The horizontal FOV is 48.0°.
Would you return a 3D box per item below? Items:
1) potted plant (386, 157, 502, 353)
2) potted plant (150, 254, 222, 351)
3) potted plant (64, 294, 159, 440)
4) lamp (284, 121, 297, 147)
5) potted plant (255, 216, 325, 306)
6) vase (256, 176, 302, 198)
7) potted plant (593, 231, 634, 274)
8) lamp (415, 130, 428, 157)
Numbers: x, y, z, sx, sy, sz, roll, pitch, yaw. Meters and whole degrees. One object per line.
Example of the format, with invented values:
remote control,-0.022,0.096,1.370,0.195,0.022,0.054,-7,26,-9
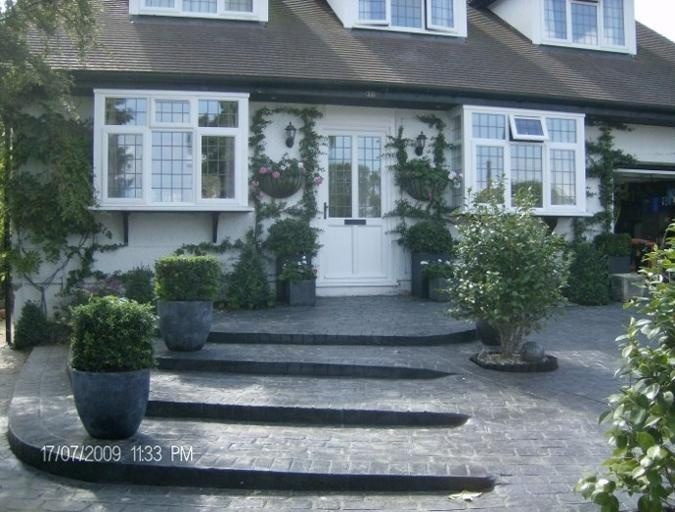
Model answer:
potted plant,2.103,-0.560,16.927,1.402,2.959,1.838,-3,12,-16
potted plant,-2.376,0.698,12.457,1.388,1.670,1.283,1,0,4
potted plant,-2.832,1.411,9.629,1.078,1.650,1.143,-8,-12,35
lamp,-0.991,-2.646,16.723,0.282,0.548,0.293,-3,12,-16
potted plant,-0.972,0.188,16.284,1.775,2.705,1.459,0,-5,-9
vase,-1.249,-1.482,16.477,0.558,0.361,0.564,-1,2,-24
potted plant,6.599,-0.070,18.084,0.996,1.365,0.886,0,-3,1
lamp,1.945,-2.554,17.495,0.285,0.527,0.193,-1,11,-6
